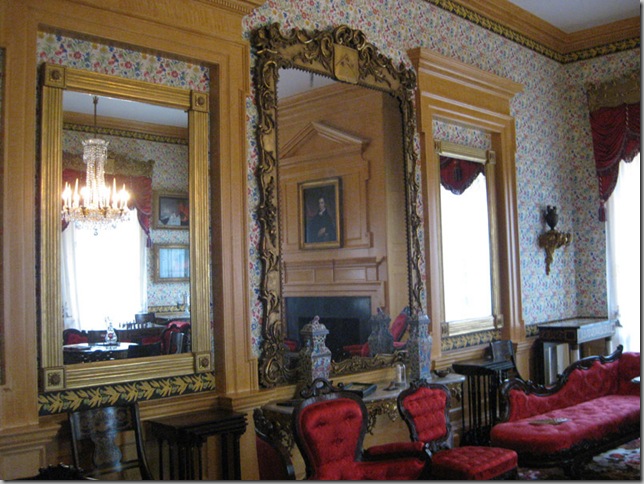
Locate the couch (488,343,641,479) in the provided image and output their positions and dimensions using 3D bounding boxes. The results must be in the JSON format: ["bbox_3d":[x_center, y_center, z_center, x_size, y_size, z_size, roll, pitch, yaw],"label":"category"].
[{"bbox_3d":[2.633,1.713,5.586,2.321,0.826,0.779,0,-6,-39],"label":"couch"}]

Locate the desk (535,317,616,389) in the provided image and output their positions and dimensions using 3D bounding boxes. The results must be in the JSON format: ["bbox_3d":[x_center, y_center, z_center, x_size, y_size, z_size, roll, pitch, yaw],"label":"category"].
[{"bbox_3d":[3.752,1.658,7.928,1.139,1.134,0.423,-4,7,-34],"label":"desk"}]

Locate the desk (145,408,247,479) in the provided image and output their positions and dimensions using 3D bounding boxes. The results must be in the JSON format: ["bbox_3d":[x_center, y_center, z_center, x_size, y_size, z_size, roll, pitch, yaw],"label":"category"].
[{"bbox_3d":[-0.982,1.486,4.234,0.658,0.690,0.529,5,-12,-45],"label":"desk"}]

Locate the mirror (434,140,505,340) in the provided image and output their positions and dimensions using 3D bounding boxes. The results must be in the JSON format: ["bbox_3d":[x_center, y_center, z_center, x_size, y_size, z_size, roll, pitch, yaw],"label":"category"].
[{"bbox_3d":[1.860,-0.049,6.884,1.342,2.354,0.121,1,-6,-43],"label":"mirror"}]

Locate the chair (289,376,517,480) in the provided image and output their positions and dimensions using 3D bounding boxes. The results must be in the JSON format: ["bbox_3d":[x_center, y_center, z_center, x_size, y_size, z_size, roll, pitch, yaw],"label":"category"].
[{"bbox_3d":[0.607,1.442,4.089,1.671,0.875,0.617,-1,-6,-31],"label":"chair"}]

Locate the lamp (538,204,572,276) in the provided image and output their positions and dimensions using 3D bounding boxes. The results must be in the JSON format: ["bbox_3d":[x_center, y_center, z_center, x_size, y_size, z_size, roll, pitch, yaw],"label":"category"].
[{"bbox_3d":[3.475,-0.051,8.105,0.686,1.037,0.285,1,-7,-45],"label":"lamp"}]

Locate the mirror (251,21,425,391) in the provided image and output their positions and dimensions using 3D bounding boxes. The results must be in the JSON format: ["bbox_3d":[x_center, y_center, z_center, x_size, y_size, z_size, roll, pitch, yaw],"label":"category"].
[{"bbox_3d":[0.286,-0.466,5.536,2.287,3.473,0.249,1,-6,-40],"label":"mirror"}]

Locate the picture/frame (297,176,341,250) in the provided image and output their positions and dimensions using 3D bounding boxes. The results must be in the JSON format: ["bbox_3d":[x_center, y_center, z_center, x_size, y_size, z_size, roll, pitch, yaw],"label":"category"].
[{"bbox_3d":[-0.021,-0.250,5.209,0.375,0.751,0.063,-5,-29,7],"label":"picture/frame"}]
